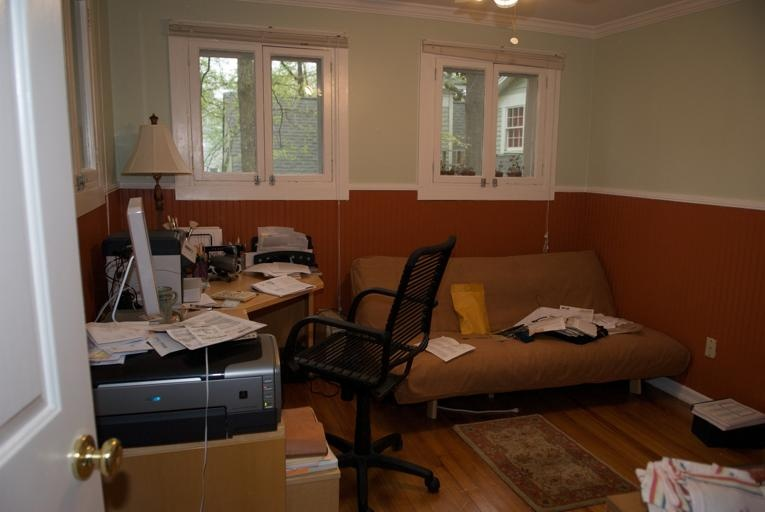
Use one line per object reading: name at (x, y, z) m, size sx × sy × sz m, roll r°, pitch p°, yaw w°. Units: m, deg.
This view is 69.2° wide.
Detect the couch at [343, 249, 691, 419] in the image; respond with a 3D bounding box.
couch at (1.048, 0.828, 4.374) m, size 2.049 × 0.999 × 1.217 m, roll 0°, pitch 0°, yaw -13°

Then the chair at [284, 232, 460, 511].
chair at (-0.064, 0.561, 3.294) m, size 0.915 × 1.405 × 1.146 m, roll 0°, pitch 12°, yaw 1°

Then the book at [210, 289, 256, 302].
book at (-0.899, 0.234, 3.369) m, size 0.234 × 0.029 × 0.210 m, roll 2°, pitch 12°, yaw 13°

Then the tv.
tv at (-1.297, 0.033, 2.883) m, size 0.255 × 0.582 × 0.652 m, roll -3°, pitch 14°, yaw -20°

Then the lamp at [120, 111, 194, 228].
lamp at (-1.601, -0.642, 3.935) m, size 0.437 × 0.697 × 0.444 m, roll 5°, pitch 18°, yaw 7°

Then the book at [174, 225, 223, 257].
book at (-1.255, -0.148, 3.790) m, size 0.356 × 0.258 × 0.191 m, roll -1°, pitch -1°, yaw -14°

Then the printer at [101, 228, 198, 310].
printer at (-1.300, 0.043, 3.088) m, size 0.415 × 0.346 × 0.535 m, roll -1°, pitch 5°, yaw -15°

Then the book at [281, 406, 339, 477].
book at (-0.371, 0.889, 2.669) m, size 0.315 × 0.074 × 0.320 m, roll 0°, pitch 13°, yaw -19°
